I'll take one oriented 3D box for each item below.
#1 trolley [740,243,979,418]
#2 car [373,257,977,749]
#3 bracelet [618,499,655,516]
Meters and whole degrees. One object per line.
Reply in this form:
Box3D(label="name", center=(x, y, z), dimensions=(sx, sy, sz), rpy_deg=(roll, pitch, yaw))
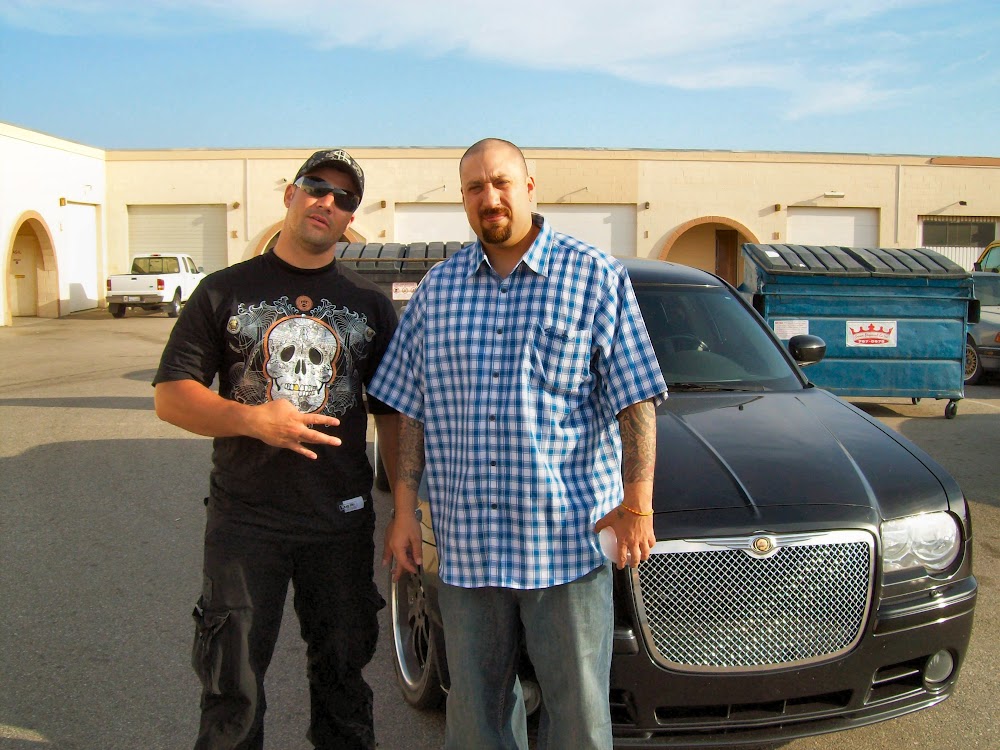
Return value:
Box3D(label="trolley", center=(4.202, -0.538, 10.659), dimensions=(2.876, 2.165, 1.865), rpy_deg=(0, 5, -14))
Box3D(label="car", center=(1.023, 0.480, 4.567), dimensions=(1.584, 1.274, 2.875), rpy_deg=(-1, 2, -8))
Box3D(label="bracelet", center=(0.440, 0.440, 2.737), dimensions=(0.098, 0.052, 0.049), rpy_deg=(0, 10, 11))
